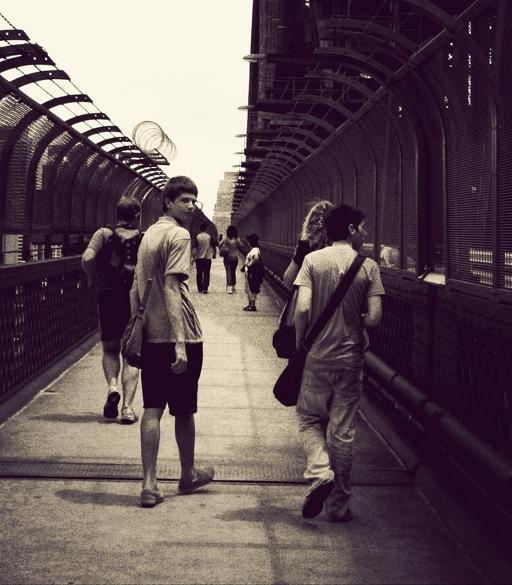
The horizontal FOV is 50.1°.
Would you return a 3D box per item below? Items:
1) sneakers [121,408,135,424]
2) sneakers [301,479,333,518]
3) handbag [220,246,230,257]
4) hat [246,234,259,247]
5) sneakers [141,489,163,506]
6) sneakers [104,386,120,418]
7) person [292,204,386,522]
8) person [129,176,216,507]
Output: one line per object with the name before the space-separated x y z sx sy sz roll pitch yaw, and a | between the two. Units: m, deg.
sneakers | -1.017 0.995 4.426 0.054 0.101 0.185 1 2 3
sneakers | 0.274 0.916 2.417 0.132 0.208 0.115 1 -1 9
handbag | -0.946 -1.266 16.974 0.168 0.348 0.286 0 5 -10
hat | -0.072 -1.223 13.009 0.206 0.403 0.335 3 11 2
sneakers | -0.516 1.025 2.755 0.047 0.077 0.137 1 -3 2
sneakers | -1.169 0.900 4.491 0.087 0.291 0.104 5 13 -14
person | 0.383 0.343 2.650 0.437 1.615 0.600 1 -1 33
person | -0.442 0.223 2.785 0.474 1.743 0.799 1 -1 -3
